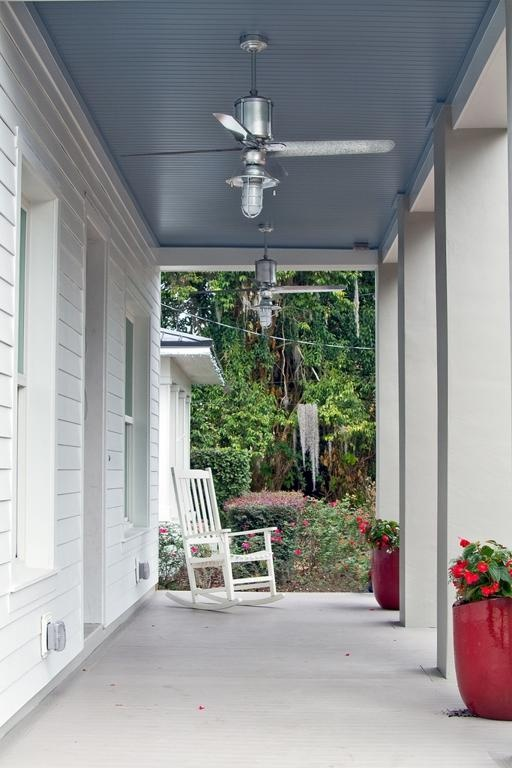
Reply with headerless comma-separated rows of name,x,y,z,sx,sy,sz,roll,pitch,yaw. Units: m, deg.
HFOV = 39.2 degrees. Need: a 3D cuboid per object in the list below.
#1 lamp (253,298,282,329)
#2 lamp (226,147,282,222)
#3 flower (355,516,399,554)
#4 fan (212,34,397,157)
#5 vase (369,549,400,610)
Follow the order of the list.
lamp,0.075,-0.552,5.643,0.180,0.237,0.416,0,-10,1
lamp,-0.012,-0.739,2.676,0.179,0.247,0.182,6,7,11
flower,0.874,1.075,5.136,0.145,0.200,0.299,6,-12,-34
fan,0.094,-1.091,2.818,0.725,0.460,0.662,2,0,-2
vase,0.915,1.387,5.122,0.168,0.442,0.311,-1,-10,6
